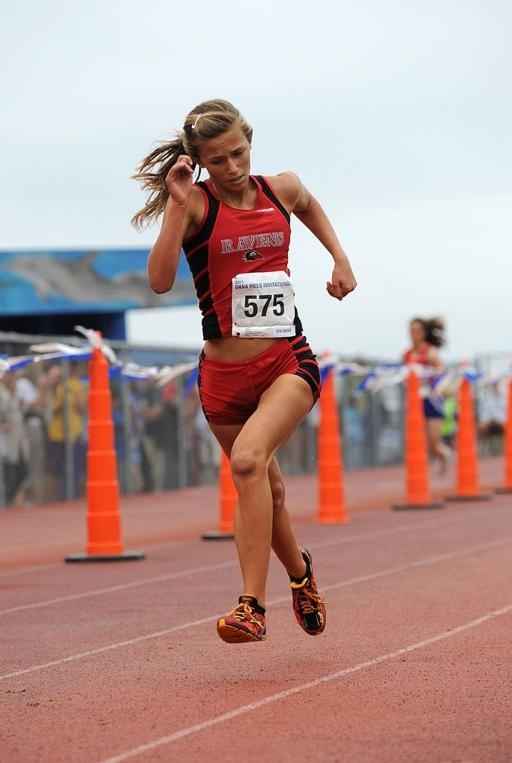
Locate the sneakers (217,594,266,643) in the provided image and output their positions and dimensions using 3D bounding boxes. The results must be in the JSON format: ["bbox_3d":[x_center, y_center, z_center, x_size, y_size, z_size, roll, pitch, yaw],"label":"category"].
[{"bbox_3d":[-0.030,0.676,2.327,0.096,0.111,0.244,-2,-21,27],"label":"sneakers"}]

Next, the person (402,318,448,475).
[{"bbox_3d":[0.912,0.075,4.332,0.225,0.835,0.488,-5,0,10],"label":"person"}]

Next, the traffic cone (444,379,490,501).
[{"bbox_3d":[1.043,0.289,4.099,0.205,0.625,0.163,-5,0,15],"label":"traffic cone"}]

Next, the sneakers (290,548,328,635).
[{"bbox_3d":[0.169,0.709,2.756,0.108,0.284,0.131,-13,-14,6],"label":"sneakers"}]

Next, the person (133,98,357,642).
[{"bbox_3d":[-0.012,0.012,2.589,0.692,1.712,0.756,-5,0,6],"label":"person"}]
